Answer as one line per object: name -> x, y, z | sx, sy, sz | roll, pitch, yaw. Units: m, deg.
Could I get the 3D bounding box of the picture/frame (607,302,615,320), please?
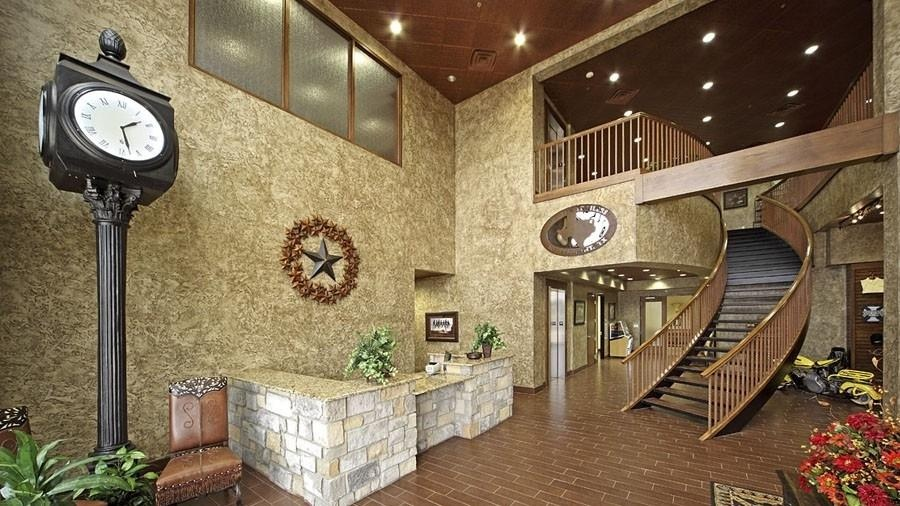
picture/frame -> 5.575, 2.046, 19.072 | 0.050, 0.442, 0.670 | -3, -8, 31

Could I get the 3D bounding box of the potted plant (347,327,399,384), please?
potted plant -> -1.392, 1.879, 9.844 | 0.778, 0.921, 0.699 | -1, 13, -4

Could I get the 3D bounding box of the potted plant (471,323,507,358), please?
potted plant -> 0.730, 1.880, 11.724 | 0.578, 0.630, 0.565 | -4, 13, -16

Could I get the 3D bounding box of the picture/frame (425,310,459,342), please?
picture/frame -> -0.178, 1.921, 14.283 | 0.876, 0.673, 0.066 | -3, -8, 31
